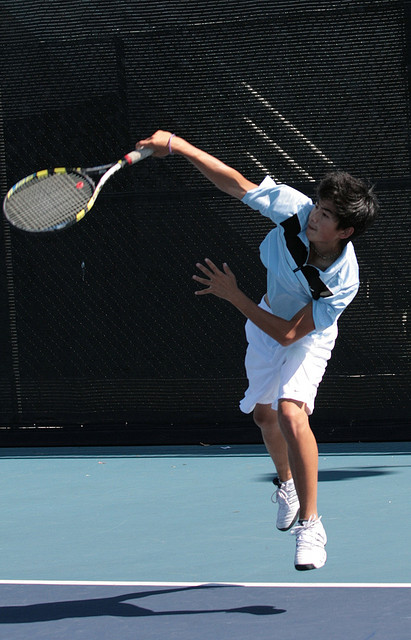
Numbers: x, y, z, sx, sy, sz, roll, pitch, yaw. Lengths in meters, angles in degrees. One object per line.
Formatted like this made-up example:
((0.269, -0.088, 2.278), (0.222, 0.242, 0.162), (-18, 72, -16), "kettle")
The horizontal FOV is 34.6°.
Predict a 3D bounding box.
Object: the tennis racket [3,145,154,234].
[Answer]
((-0.399, -0.490, 2.408), (0.714, 0.048, 0.238), (-27, 52, -23), "tennis racket")

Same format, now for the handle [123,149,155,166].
((-0.218, -0.557, 2.253), (0.034, 0.036, 0.191), (-14, 10, 36), "handle")
